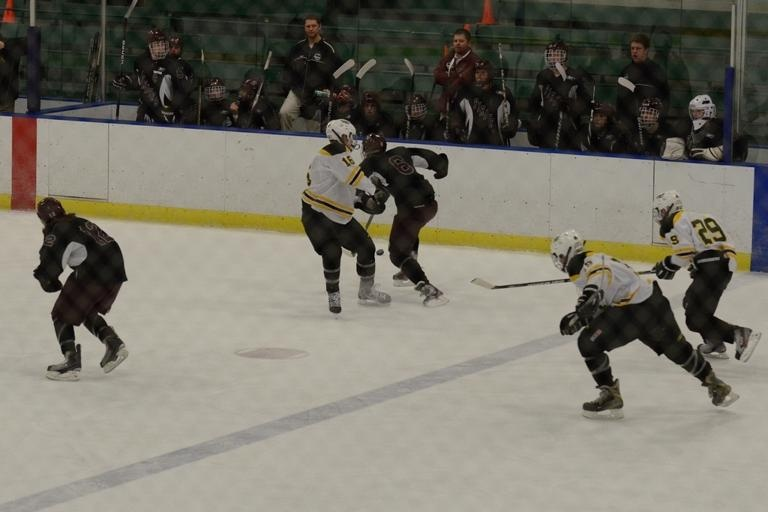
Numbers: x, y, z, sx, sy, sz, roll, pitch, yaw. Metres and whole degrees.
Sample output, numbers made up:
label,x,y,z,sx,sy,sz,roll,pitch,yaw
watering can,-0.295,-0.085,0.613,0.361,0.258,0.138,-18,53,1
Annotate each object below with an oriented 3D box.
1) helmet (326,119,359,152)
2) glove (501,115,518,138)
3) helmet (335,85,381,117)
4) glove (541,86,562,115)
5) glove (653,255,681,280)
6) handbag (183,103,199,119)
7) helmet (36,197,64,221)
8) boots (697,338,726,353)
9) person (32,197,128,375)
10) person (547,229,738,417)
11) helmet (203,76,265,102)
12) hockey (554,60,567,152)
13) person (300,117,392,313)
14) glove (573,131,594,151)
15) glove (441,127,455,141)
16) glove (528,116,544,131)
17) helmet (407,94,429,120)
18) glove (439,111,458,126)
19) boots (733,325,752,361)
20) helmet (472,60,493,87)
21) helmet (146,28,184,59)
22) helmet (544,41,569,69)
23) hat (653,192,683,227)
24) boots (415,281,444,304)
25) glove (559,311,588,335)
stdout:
label,x,y,z,sx,sy,sz,roll,pitch,yaw
helmet,-0.400,-1.120,9.037,0.229,0.277,0.276,6,12,23
glove,1.487,-1.506,11.456,0.233,0.271,0.087,-9,15,-44
helmet,-0.277,-1.764,11.405,0.393,0.266,0.511,5,-1,21
glove,1.944,-1.823,11.361,0.282,0.260,0.073,9,15,40
glove,2.290,0.062,7.930,0.163,0.213,0.098,5,45,7
handbag,-2.522,-1.882,12.621,0.215,0.260,0.152,4,-7,-22
helmet,-2.542,-0.347,7.417,0.171,0.189,0.215,3,20,20
boots,2.725,0.745,8.198,0.247,0.154,0.093,2,14,11
person,-2.308,0.251,7.427,0.647,1.358,0.460,-2,11,-15
person,1.849,0.495,7.047,1.386,1.197,0.790,3,-3,4
helmet,-1.940,-2.107,12.313,0.612,0.216,0.353,0,8,6
hockey,2.017,-1.756,11.293,0.146,0.990,0.185,2,11,2
person,-0.378,-0.363,9.021,0.737,1.761,0.498,-1,11,-12
glove,2.291,-1.320,11.270,0.158,0.232,0.236,-1,5,5
glove,0.753,-1.433,11.510,0.170,0.143,0.040,11,1,28
glove,1.765,-1.585,11.536,0.063,0.144,0.276,-3,11,-22
helmet,0.379,-1.759,11.633,0.245,0.277,0.265,-5,-5,-3
glove,0.762,-1.625,11.512,0.164,0.200,0.077,-1,-3,29
boots,2.813,0.694,7.714,0.177,0.271,0.100,4,15,8
helmet,1.131,-2.121,11.358,0.220,0.284,0.192,3,11,10
helmet,-2.798,-2.722,12.508,0.506,0.390,0.368,-3,9,-1
helmet,1.988,-2.339,11.422,0.266,0.291,0.319,0,0,10
hat,2.293,-0.404,7.951,0.261,0.218,0.210,-18,-11,38
boots,0.438,0.350,9.187,0.209,0.098,0.262,26,9,36
glove,1.324,0.484,6.800,0.188,0.064,0.134,-23,33,-14
